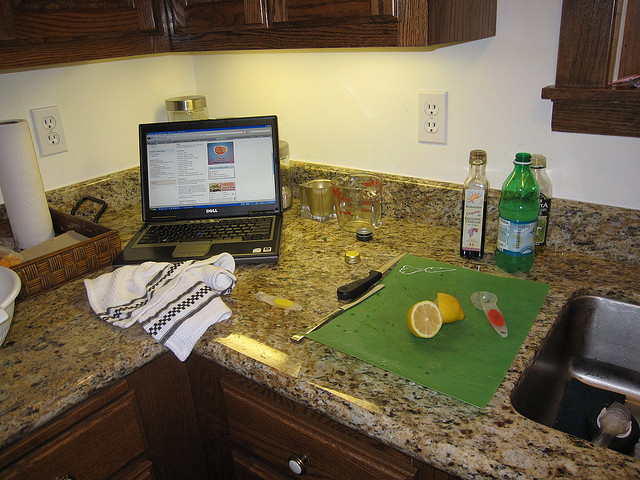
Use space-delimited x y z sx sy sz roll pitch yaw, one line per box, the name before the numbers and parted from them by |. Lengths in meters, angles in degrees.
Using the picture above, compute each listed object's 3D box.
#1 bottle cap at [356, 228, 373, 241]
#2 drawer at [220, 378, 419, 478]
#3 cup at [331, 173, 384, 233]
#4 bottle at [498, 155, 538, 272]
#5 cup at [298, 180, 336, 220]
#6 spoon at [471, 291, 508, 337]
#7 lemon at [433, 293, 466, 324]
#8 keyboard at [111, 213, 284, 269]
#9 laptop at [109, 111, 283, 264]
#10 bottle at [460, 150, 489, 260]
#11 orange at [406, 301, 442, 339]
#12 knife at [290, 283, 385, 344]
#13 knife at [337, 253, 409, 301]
bottle cap | 0.139 -0.021 1.347 0.039 0.024 0.039 -23 34 -32
drawer | -0.032 0.446 0.907 0.479 0.180 0.031 10 22 29
cup | 0.126 -0.135 1.497 0.163 0.157 0.201 -26 38 -32
bottle | 0.514 -0.070 1.104 0.103 0.307 0.129 9 21 27
cup | -0.001 -0.158 1.529 0.152 0.137 0.104 12 30 35
spoon | 0.397 0.167 0.993 0.067 0.016 0.173 -8 27 1
lemon | 0.294 0.156 0.994 0.065 0.061 0.072 6 17 -11
keyboard | -0.365 0.002 1.325 0.485 0.086 0.230 -2 20 -2
laptop | -0.368 -0.164 1.298 0.483 0.329 0.364 -2 25 3
bottle | 0.429 -0.078 1.188 0.066 0.257 0.086 7 21 23
orange | 0.225 0.171 0.937 0.074 0.076 0.047 15 -26 -16
knife | 0.052 0.159 1.059 0.066 0.021 0.448 2 24 28
knife | 0.156 0.087 1.181 0.047 0.027 0.337 10 28 37
